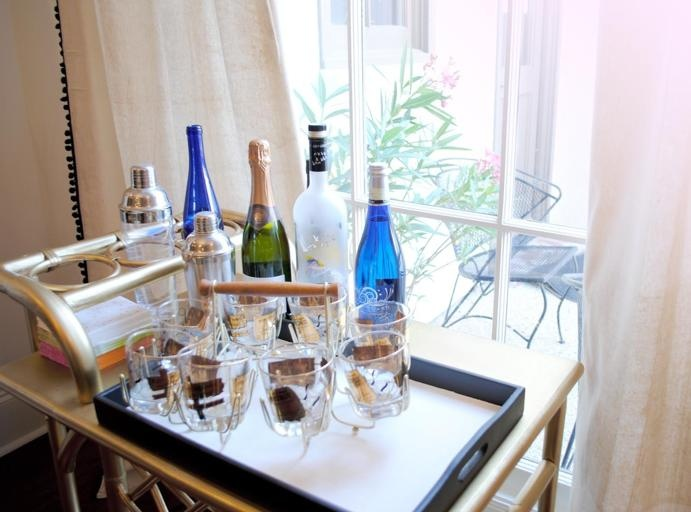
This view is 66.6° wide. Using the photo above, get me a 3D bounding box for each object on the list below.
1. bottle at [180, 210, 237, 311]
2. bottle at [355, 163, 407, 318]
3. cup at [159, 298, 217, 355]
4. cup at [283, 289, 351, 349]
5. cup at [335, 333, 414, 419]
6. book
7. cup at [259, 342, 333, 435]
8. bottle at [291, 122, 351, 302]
[{"bbox_3d":[-0.238,0.007,0.924,0.092,0.156,0.104,-11,25,-19],"label":"bottle"},{"bbox_3d":[0.058,-0.021,0.915,0.096,0.284,0.149,-1,24,3],"label":"bottle"},{"bbox_3d":[-0.259,0.139,0.889,0.081,0.085,0.102,4,28,1],"label":"cup"},{"bbox_3d":[-0.047,0.105,0.883,0.089,0.105,0.095,-2,32,1],"label":"cup"},{"bbox_3d":[0.051,0.182,0.847,0.115,0.136,0.127,-10,37,8],"label":"cup"},{"bbox_3d":[-0.472,0.108,1.020,0.167,0.062,0.178,22,33,36],"label":"book"},{"bbox_3d":[-0.068,0.195,0.817,0.109,0.130,0.125,-4,28,-1],"label":"cup"},{"bbox_3d":[-0.047,-0.079,0.951,0.106,0.309,0.273,-4,24,-5],"label":"bottle"}]
